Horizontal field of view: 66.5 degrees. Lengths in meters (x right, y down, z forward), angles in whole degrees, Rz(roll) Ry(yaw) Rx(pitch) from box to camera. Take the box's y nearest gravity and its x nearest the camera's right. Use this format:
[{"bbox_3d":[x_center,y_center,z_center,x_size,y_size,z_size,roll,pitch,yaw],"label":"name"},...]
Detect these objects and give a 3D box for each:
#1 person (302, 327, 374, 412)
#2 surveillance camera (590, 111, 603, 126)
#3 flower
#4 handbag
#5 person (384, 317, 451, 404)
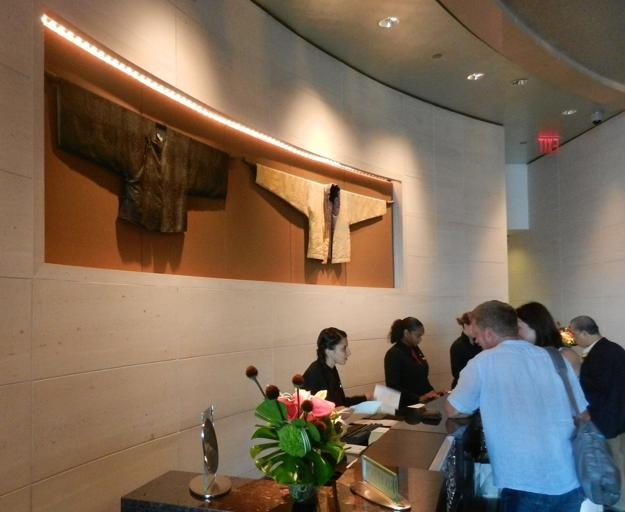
[{"bbox_3d":[0.178,0.948,3.889,0.499,0.720,0.767,-2,-5,18],"label":"person"},{"bbox_3d":[4.392,-2.132,7.355,0.192,0.186,0.155,37,-30,-31],"label":"surveillance camera"},{"bbox_3d":[-0.073,0.729,1.952,0.395,0.503,0.369,-2,5,19],"label":"flower"},{"bbox_3d":[1.408,0.863,2.464,0.198,0.757,0.339,4,-4,-34],"label":"handbag"},{"bbox_3d":[1.102,1.350,4.940,0.565,1.401,0.531,-2,-1,30],"label":"person"}]
